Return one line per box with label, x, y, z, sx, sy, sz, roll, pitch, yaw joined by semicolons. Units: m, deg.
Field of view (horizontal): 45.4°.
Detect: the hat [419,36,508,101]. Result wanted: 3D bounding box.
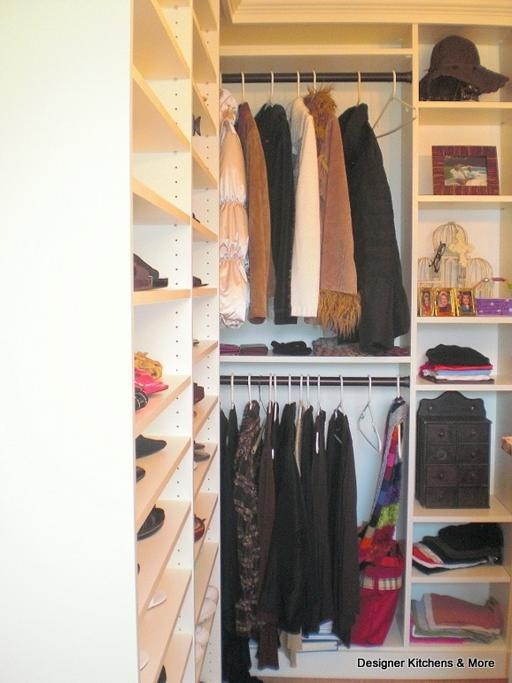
hat;0.726;-0.973;2.212;0.296;0.217;0.202;-8;26;8
